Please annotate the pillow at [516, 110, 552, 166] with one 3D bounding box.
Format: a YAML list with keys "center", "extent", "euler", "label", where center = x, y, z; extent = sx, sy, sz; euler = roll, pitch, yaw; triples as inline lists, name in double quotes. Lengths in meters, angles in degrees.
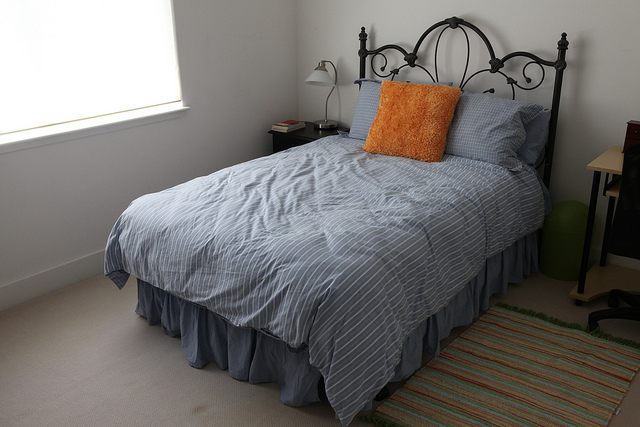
- center: [1.669, -0.587, 3.706]
  extent: [0.342, 0.370, 0.107]
  euler: [2, -5, 9]
  label: "pillow"

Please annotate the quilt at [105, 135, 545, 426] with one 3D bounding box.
- center: [0.046, 0.212, 3.474]
  extent: [2.067, 0.916, 2.288]
  euler: [20, 32, 36]
  label: "quilt"

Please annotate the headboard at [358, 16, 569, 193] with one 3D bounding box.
- center: [1.199, -0.834, 3.807]
  extent: [1.338, 1.175, 0.107]
  euler: [14, 20, 38]
  label: "headboard"

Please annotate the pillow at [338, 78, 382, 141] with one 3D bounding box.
- center: [0.404, -0.916, 4.199]
  extent: [0.452, 0.481, 0.156]
  euler: [21, 9, 37]
  label: "pillow"

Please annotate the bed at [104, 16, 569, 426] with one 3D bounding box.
- center: [0.358, -0.040, 3.947]
  extent: [2.495, 2.345, 3.281]
  euler: [19, 30, 41]
  label: "bed"
